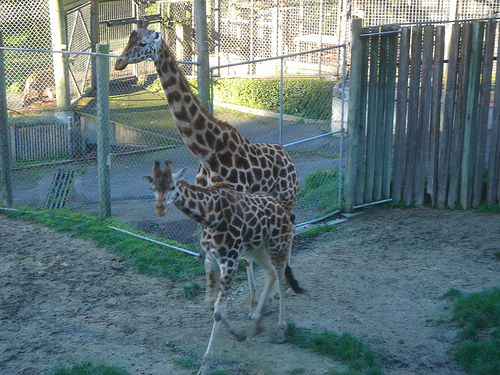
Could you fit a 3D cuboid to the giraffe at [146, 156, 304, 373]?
[{"bbox_3d":[-0.203,0.885,9.462,1.159,2.641,2.084,10,15,43],"label":"giraffe"}]
